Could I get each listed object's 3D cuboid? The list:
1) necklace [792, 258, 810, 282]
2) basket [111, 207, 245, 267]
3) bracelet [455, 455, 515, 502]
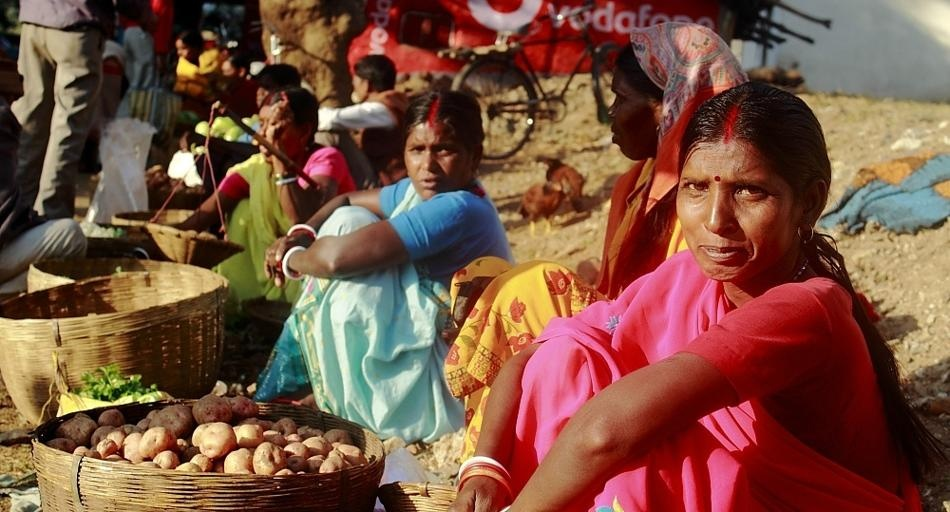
[{"bbox_3d":[1.954,0.087,6.323,0.100,0.125,0.110,8,-3,4],"label":"necklace"},{"bbox_3d":[-2.455,-0.130,8.531,0.699,0.266,0.685,11,3,-31],"label":"basket"},{"bbox_3d":[0.068,1.341,6.333,0.266,0.245,0.097,34,33,-1],"label":"bracelet"}]
